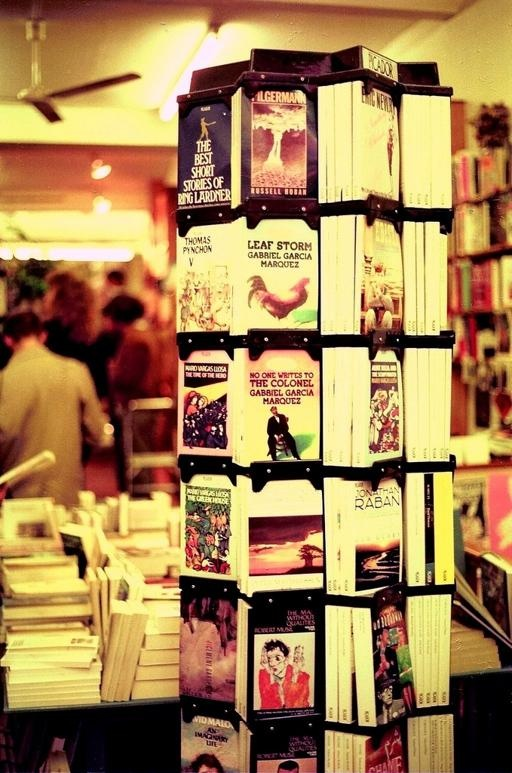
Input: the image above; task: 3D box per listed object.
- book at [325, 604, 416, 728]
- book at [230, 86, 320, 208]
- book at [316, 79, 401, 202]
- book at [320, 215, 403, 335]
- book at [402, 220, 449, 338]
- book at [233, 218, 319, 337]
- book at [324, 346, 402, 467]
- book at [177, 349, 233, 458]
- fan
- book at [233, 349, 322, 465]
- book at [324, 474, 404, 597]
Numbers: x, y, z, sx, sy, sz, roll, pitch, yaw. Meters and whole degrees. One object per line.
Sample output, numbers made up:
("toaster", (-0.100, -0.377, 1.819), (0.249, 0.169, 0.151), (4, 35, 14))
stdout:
("book", (0.309, 0.794, 2.385), (0.192, 0.373, 0.348), (-3, -3, 40))
("book", (0.055, -0.669, 2.318), (0.300, 0.449, 0.048), (0, 1, -12))
("book", (0.268, -0.679, 2.314), (0.162, 0.344, 0.318), (2, 5, 34))
("book", (0.274, -0.290, 2.354), (0.257, 0.424, 0.287), (0, 1, 0))
("book", (0.485, -0.321, 2.463), (0.148, 0.304, 0.297), (-1, 6, 1))
("book", (0.054, -0.310, 2.340), (0.289, 0.433, 0.046), (0, 1, -9))
("book", (0.319, 0.054, 2.391), (0.255, 0.331, 0.115), (-1, 1, -30))
("book", (-0.144, 0.049, 2.460), (0.042, 0.430, 0.278), (-1, 2, -40))
("fan", (-0.626, -1.069, 2.905), (0.330, 0.396, 0.312), (5, 39, 4))
("book", (0.058, 0.048, 2.586), (0.243, 0.514, 0.351), (1, 0, 0))
("book", (0.305, 0.424, 2.402), (0.225, 0.334, 0.082), (-1, 1, -22))
